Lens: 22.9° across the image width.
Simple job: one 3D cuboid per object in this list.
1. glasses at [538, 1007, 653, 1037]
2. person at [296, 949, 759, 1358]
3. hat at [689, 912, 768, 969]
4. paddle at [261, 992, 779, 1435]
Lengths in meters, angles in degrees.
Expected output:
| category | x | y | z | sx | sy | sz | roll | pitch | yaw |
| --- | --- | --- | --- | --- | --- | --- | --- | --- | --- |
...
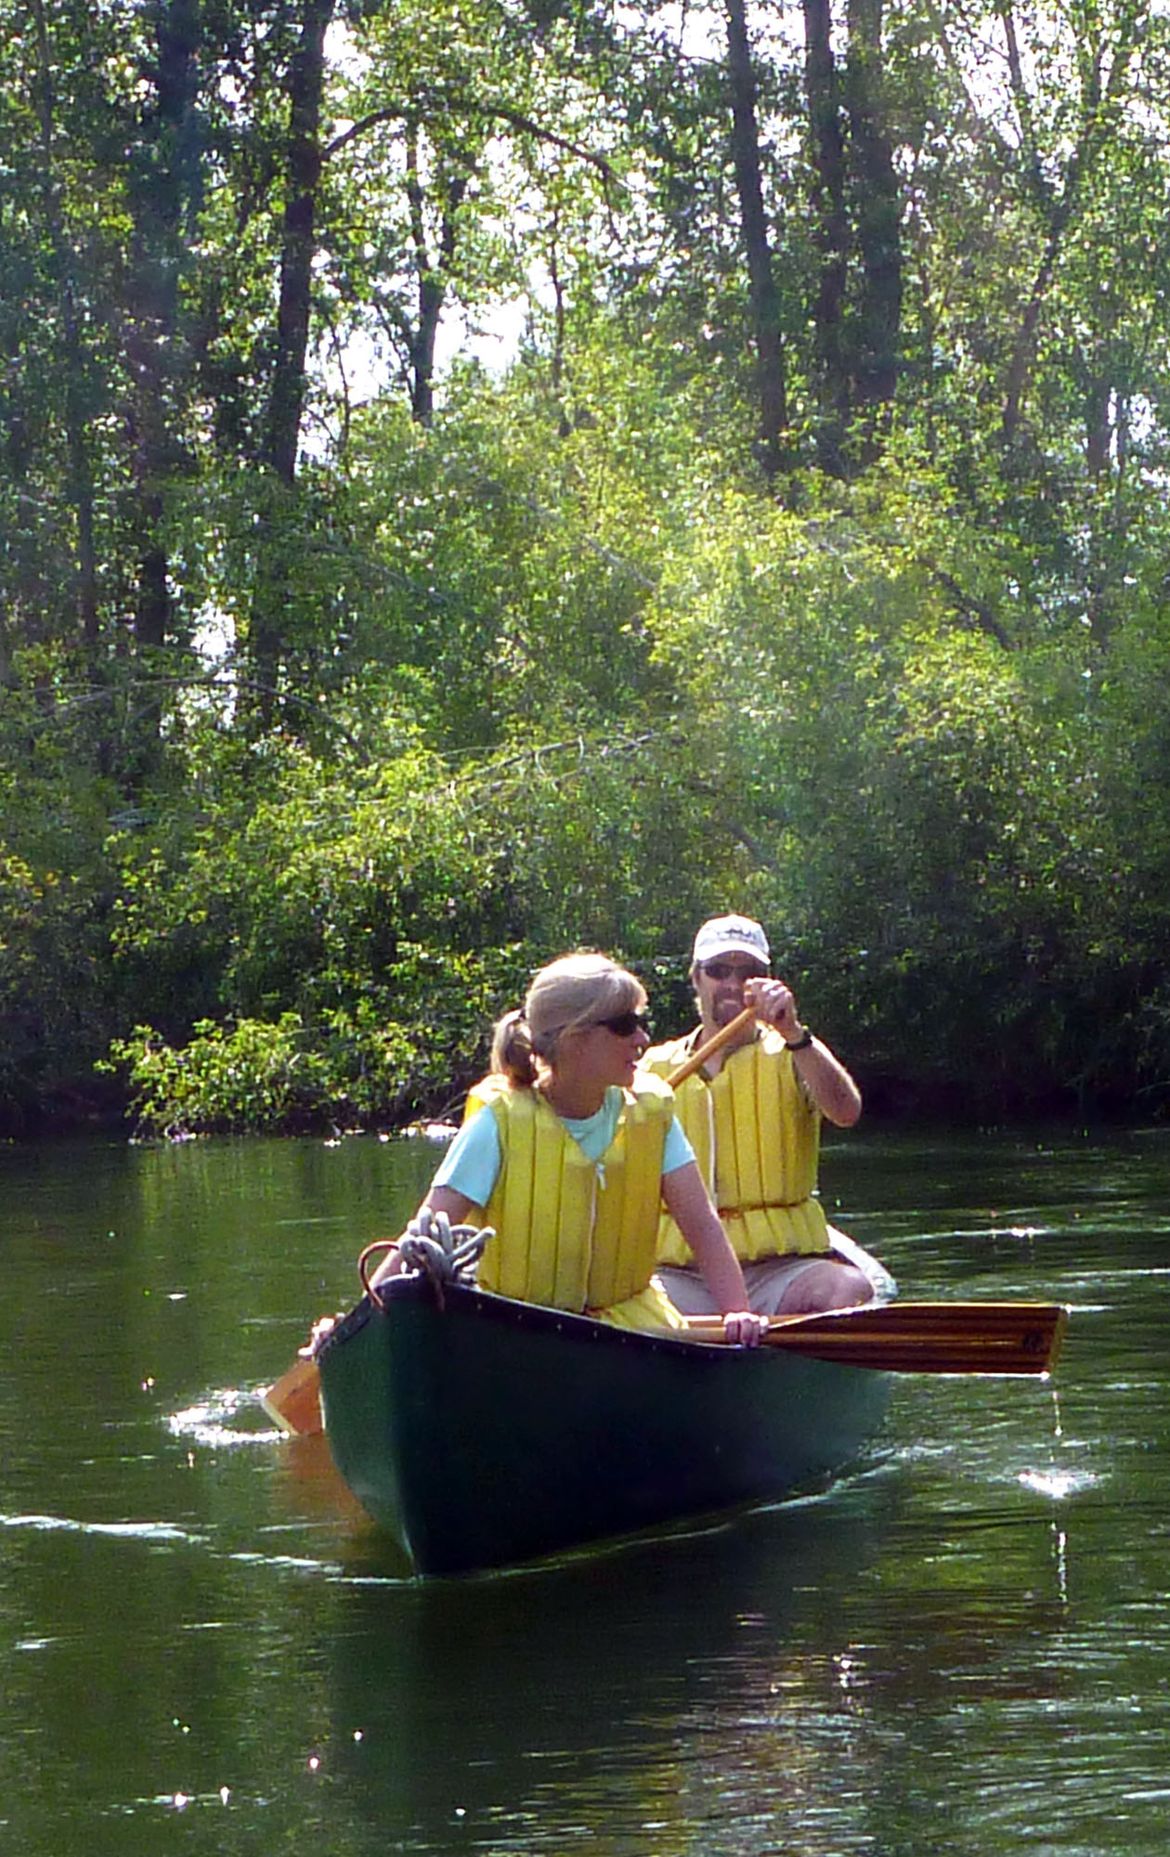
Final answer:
| category | x | y | z | sx | sy | sz | roll | pitch | yaw |
| --- | --- | --- | --- | --- | --- | --- | --- | --- | --- |
| glasses | 0.048 | 0.176 | 5.300 | 0.192 | 0.046 | 0.096 | 0 | -5 | -35 |
| person | -0.224 | 0.608 | 8.153 | 0.981 | 1.459 | 0.700 | -16 | 30 | -36 |
| hat | 0.323 | 0.018 | 6.440 | 0.106 | 0.086 | 0.157 | 1 | -14 | 1 |
| paddle | -0.087 | 0.408 | 5.603 | 0.661 | 0.800 | 0.802 | 5 | 4 | -39 |
